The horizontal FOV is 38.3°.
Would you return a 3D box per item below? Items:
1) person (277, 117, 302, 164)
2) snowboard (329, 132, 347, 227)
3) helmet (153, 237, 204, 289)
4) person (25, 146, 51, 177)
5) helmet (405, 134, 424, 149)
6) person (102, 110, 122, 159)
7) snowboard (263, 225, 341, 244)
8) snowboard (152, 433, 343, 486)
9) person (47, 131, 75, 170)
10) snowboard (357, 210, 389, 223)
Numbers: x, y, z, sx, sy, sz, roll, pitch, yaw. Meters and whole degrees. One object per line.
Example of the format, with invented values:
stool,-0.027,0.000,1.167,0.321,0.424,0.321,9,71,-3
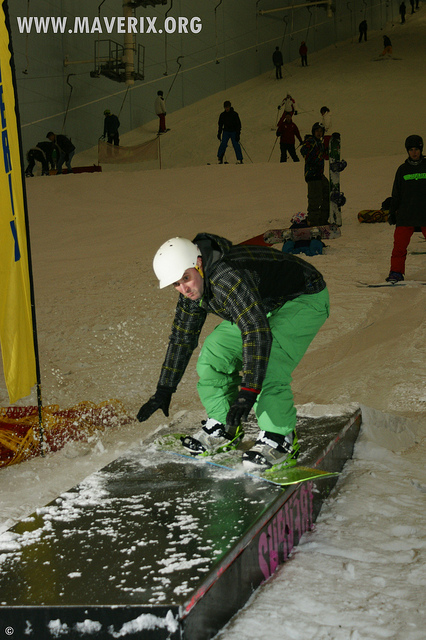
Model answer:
person,1.612,-3.766,13.104,0.586,1.189,0.408,-5,41,1
snowboard,1.673,-1.883,8.403,0.324,1.277,0.240,7,17,32
helmet,-0.143,-0.229,2.429,0.182,0.185,0.192,-9,5,-9
person,-4.159,-3.675,14.379,0.552,0.585,1.022,-9,5,-13
helmet,1.918,-1.710,5.867,0.140,0.144,0.285,-6,4,23
person,-2.603,-4.682,15.552,0.538,1.203,0.444,-8,14,-22
snowboard,1.267,-1.156,8.257,1.191,0.195,0.589,-10,5,-38
snowboard,0.139,0.563,2.446,0.641,0.088,0.178,8,13,44
person,-3.574,-3.980,14.523,0.494,0.601,0.878,-9,5,-10
snowboard,2.483,-1.608,9.558,0.571,0.241,0.121,2,-2,1
